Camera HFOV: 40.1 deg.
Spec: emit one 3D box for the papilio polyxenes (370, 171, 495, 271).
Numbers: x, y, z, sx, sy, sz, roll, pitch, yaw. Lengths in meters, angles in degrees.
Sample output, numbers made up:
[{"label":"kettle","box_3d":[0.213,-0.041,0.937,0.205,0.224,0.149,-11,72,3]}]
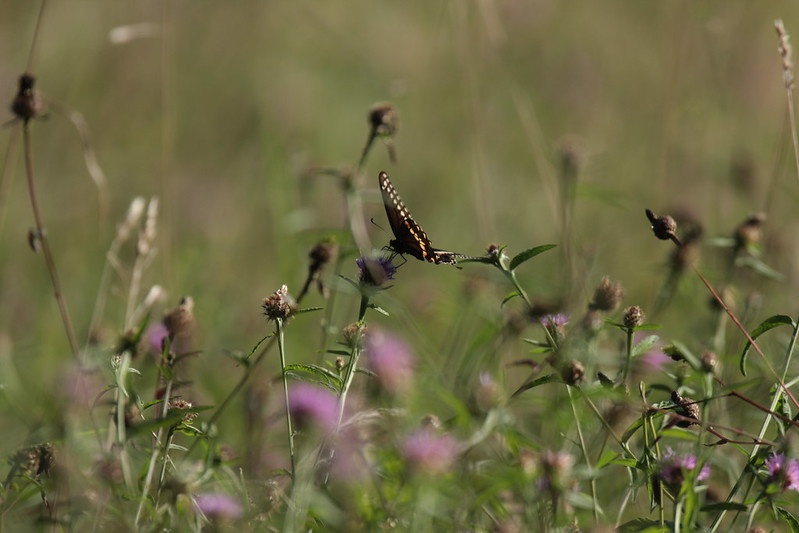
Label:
[{"label":"papilio polyxenes","box_3d":[0.104,-0.179,3.426,0.287,0.306,0.152,27,69,38]}]
